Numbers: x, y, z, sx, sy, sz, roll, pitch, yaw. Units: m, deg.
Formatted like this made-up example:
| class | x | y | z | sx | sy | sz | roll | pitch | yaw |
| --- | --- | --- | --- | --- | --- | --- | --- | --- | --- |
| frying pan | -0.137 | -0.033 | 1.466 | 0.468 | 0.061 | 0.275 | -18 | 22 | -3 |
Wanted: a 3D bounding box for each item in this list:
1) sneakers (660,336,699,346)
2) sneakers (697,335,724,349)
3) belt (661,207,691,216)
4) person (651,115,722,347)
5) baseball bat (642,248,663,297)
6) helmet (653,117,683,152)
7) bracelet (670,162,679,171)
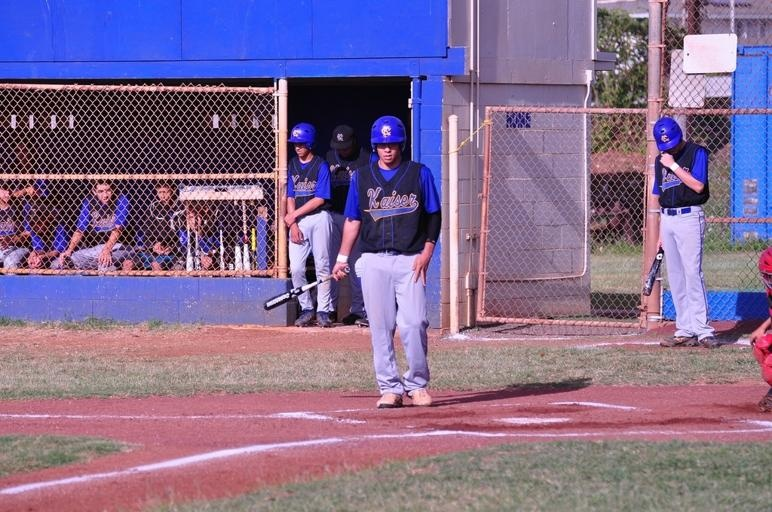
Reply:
| class | x | y | z | sx | sy | sz | roll | pitch | yaw |
| --- | --- | --- | --- | --- | --- | --- | --- | --- | --- |
| sneakers | 3.939 | 1.155 | 19.659 | 0.493 | 0.202 | 0.176 | 3 | -1 | 5 |
| sneakers | 4.331 | 1.155 | 19.546 | 0.313 | 0.154 | 0.228 | -1 | 3 | 5 |
| belt | 3.872 | -0.612 | 19.551 | 0.392 | 0.110 | 0.058 | 0 | 4 | 28 |
| person | 3.943 | -0.338 | 19.607 | 0.609 | 3.120 | 0.874 | -5 | 5 | -44 |
| baseball bat | 3.687 | 0.230 | 20.087 | 0.187 | 0.789 | 0.161 | 26 | -21 | -15 |
| helmet | 3.708 | -1.660 | 19.425 | 0.337 | 0.476 | 0.259 | -9 | -42 | 36 |
| bracelet | 3.791 | -1.203 | 19.339 | 0.116 | 0.070 | 0.113 | -41 | -13 | 12 |
